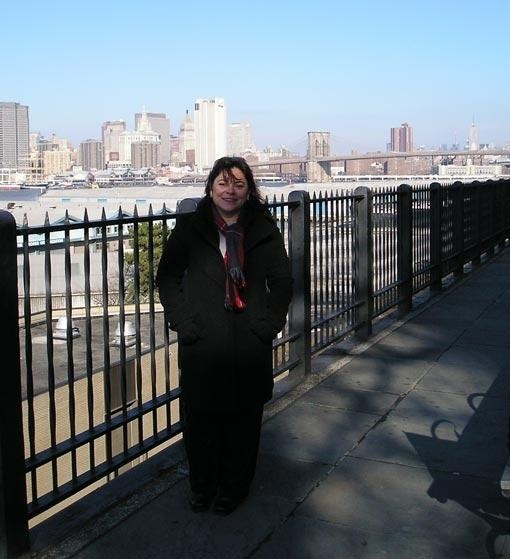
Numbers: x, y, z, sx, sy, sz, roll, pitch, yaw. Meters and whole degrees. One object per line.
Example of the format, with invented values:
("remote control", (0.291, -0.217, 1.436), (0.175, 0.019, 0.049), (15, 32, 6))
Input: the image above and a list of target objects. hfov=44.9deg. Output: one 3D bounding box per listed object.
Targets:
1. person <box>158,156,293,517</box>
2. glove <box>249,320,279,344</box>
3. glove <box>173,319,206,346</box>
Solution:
("person", (-0.120, 0.243, 2.524), (0.536, 1.476, 0.329), (0, 5, 3))
("glove", (0.035, 0.219, 2.449), (0.069, 0.065, 0.099), (23, -16, 12))
("glove", (-0.266, 0.205, 2.399), (0.120, 0.101, 0.063), (2, 6, 18))
